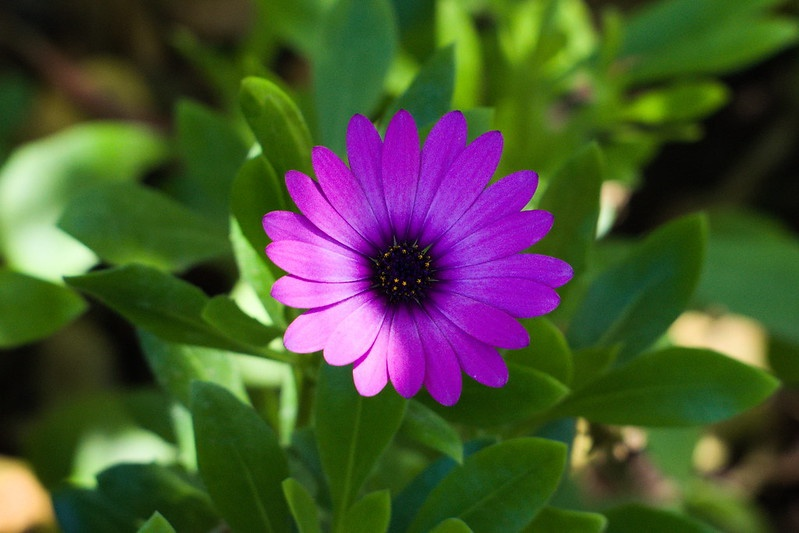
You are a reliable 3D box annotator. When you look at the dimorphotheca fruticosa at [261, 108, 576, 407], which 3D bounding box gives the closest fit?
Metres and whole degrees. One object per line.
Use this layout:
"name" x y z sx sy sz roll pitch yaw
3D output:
"dimorphotheca fruticosa" 0.003 -0.001 0.811 0.352 0.119 0.393 21 -4 -6
